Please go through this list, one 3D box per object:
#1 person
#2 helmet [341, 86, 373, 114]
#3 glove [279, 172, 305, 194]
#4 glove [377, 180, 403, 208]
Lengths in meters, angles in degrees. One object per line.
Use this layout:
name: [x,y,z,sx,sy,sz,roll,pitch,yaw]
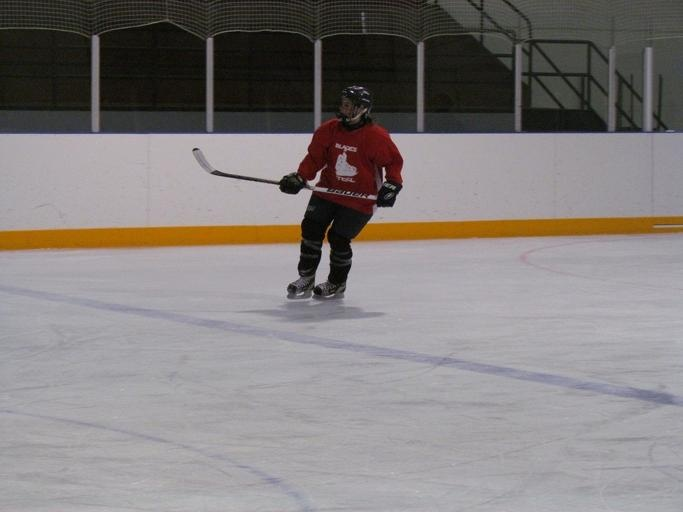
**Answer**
person: [-0.001,-0.375,5.913,0.716,1.288,0.414,5,4,2]
helmet: [0.116,-0.925,5.773,0.124,0.134,0.239,6,5,26]
glove: [-0.317,-0.423,5.834,0.169,0.109,0.057,9,-40,22]
glove: [0.261,-0.367,5.774,0.138,0.156,0.065,27,0,-31]
